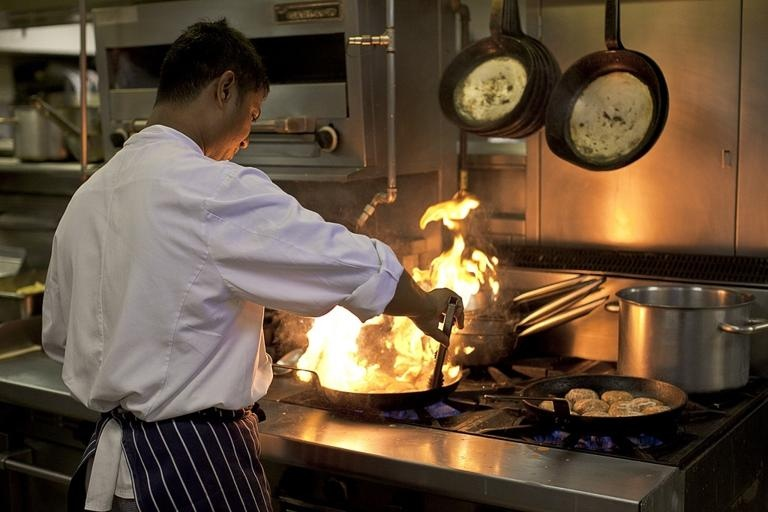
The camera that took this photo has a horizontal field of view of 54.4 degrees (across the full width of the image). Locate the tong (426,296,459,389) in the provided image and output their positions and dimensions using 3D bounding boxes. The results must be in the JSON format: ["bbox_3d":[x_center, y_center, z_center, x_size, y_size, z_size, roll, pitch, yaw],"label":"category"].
[{"bbox_3d":[0.159,0.257,2.221,0.052,0.343,0.090,15,-7,-11],"label":"tong"}]

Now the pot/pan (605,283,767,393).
[{"bbox_3d":[0.995,0.188,2.394,0.368,0.217,0.434,0,3,-40],"label":"pot/pan"}]

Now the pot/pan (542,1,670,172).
[{"bbox_3d":[0.716,-0.476,2.437,0.103,0.608,0.350,-3,7,-43],"label":"pot/pan"}]

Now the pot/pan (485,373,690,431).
[{"bbox_3d":[0.617,0.420,2.182,0.448,0.086,0.372,7,12,38],"label":"pot/pan"}]
